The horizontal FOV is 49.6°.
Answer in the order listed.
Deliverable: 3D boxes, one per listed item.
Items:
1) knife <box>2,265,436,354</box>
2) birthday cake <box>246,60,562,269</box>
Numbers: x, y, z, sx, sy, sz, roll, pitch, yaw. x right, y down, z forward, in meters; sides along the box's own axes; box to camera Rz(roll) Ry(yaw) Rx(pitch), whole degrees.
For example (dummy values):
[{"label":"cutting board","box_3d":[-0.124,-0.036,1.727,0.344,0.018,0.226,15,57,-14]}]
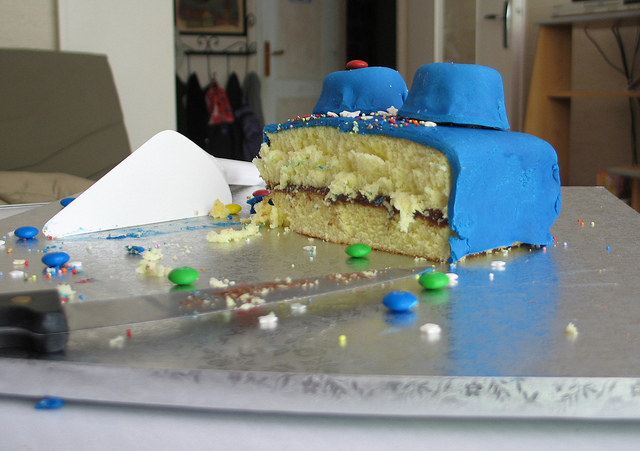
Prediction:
[{"label":"knife","box_3d":[-0.185,0.120,1.183,0.651,0.067,0.203,-5,12,-19]},{"label":"birthday cake","box_3d":[0.188,-0.174,1.654,0.436,0.398,0.675,-9,14,-35]}]
